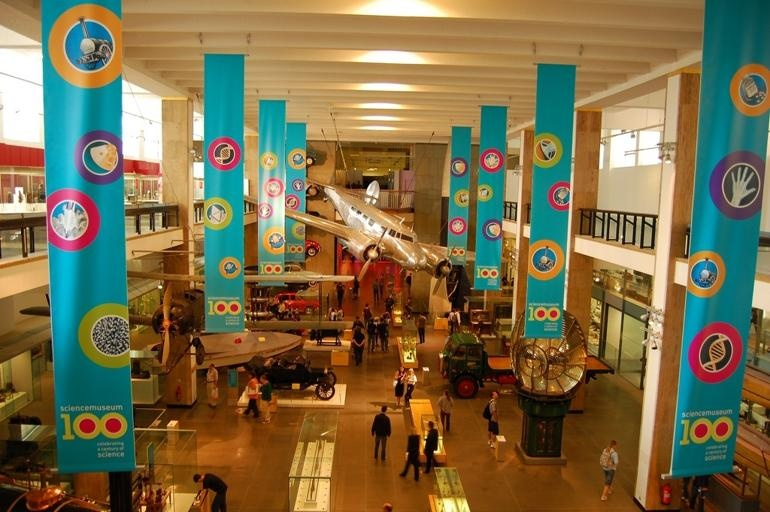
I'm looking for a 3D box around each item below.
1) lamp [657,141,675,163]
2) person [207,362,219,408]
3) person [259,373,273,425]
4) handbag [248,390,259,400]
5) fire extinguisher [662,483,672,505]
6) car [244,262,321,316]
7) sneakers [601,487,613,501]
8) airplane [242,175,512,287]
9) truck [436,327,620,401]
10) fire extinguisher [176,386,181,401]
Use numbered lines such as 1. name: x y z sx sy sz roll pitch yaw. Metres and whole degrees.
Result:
1. lamp: 6.324 -2.315 12.541 0.164 0.453 0.440 -3 12 -22
2. person: -5.303 3.918 17.131 0.291 1.250 0.638 -2 12 -19
3. person: -3.508 4.157 16.555 0.385 1.156 0.918 -1 11 -13
4. handbag: -3.901 4.079 16.586 0.283 0.352 0.396 -1 11 -11
5. fire extinguisher: 6.549 5.466 12.913 0.262 0.483 0.119 -2 11 -17
6. car: -4.584 1.960 25.314 3.983 1.919 2.442 -3 7 -18
7. sneakers: 5.317 5.629 13.294 0.159 0.192 0.481 1 10 20
8. airplane: 0.329 -0.984 19.518 5.362 2.830 5.943 2 11 1
9. truck: 4.679 3.828 18.722 5.501 2.070 2.323 2 6 -3
10. fire extinguisher: -6.221 4.099 16.878 0.154 0.403 0.037 -3 12 -20
